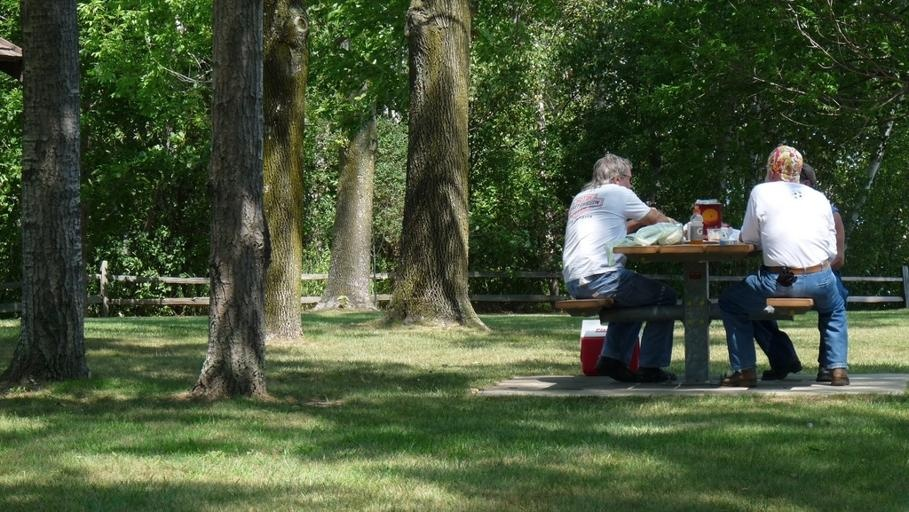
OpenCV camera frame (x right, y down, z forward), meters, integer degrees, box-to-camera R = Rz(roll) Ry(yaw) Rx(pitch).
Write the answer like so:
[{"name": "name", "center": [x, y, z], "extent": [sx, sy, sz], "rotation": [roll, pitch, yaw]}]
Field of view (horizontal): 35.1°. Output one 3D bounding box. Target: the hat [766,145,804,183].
[{"name": "hat", "center": [6.451, -1.836, 28.252], "extent": [0.646, 0.719, 0.759], "rotation": [8, 24, 6]}]

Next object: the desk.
[{"name": "desk", "center": [4.845, 1.189, 28.479], "extent": [3.321, 2.541, 3.218], "rotation": [-2, -2, 28]}]

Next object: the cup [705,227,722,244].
[{"name": "cup", "center": [5.038, -0.389, 28.257], "extent": [0.337, 0.283, 0.314], "rotation": [1, 2, 0]}]
